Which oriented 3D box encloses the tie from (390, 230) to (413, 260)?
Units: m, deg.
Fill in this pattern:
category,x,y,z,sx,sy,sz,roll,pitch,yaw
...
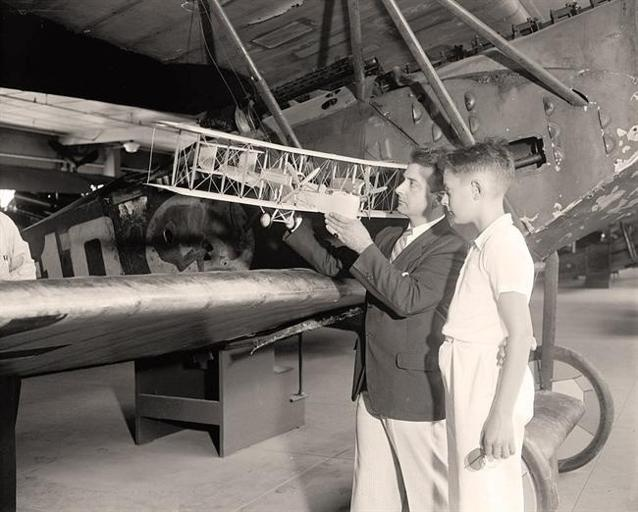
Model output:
category,x,y,z,sx,sy,sz,roll,pitch,yaw
tie,0.476,-0.067,3.781,0.038,0.164,0.109,36,2,-3
